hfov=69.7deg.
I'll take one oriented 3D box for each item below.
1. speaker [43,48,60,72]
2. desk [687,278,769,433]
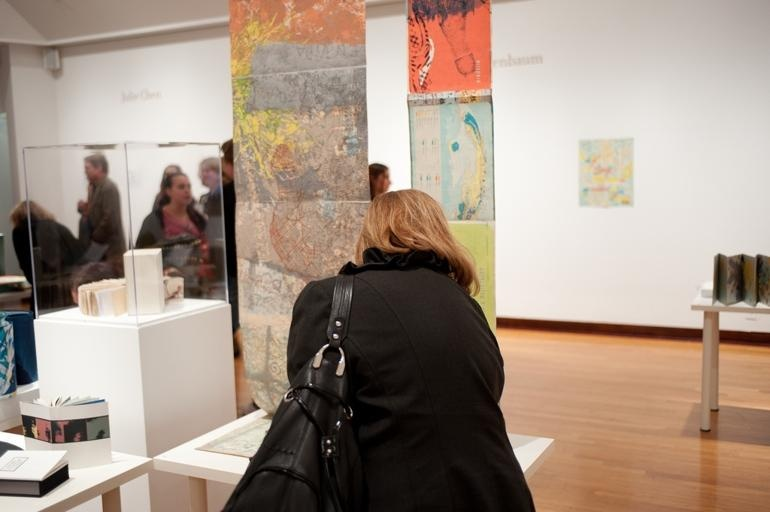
[{"bbox_3d":[-4.144,-2.418,6.850,0.174,0.258,0.193,-5,12,-13],"label":"speaker"},{"bbox_3d":[3.036,0.836,5.178,1.025,1.118,1.348,0,1,32],"label":"desk"}]
